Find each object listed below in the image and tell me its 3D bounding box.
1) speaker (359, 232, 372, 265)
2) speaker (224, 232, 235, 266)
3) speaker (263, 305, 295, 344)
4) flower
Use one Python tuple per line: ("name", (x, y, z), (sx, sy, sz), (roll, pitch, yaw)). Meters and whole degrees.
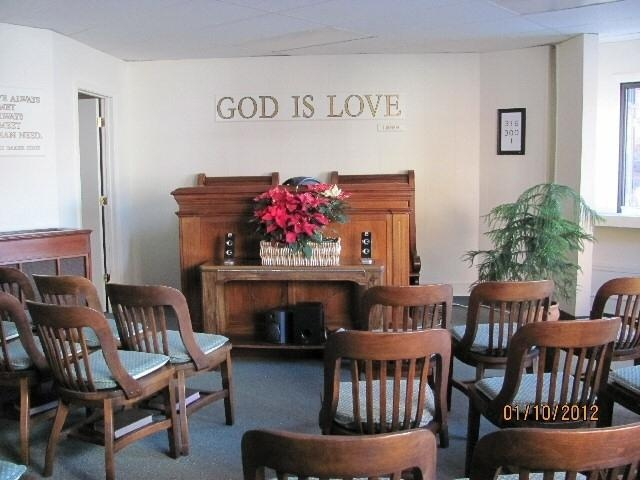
("speaker", (0.413, 0.065, 4.308), (0.111, 0.250, 0.346), (0, 8, 5))
("speaker", (-0.845, 0.074, 4.382), (0.113, 0.251, 0.385), (-2, 8, -11))
("speaker", (-0.384, 0.726, 4.286), (0.281, 0.345, 0.360), (1, -4, -26))
("flower", (-0.179, -0.164, 4.263), (0.847, 0.644, 0.473), (0, 8, 3))
